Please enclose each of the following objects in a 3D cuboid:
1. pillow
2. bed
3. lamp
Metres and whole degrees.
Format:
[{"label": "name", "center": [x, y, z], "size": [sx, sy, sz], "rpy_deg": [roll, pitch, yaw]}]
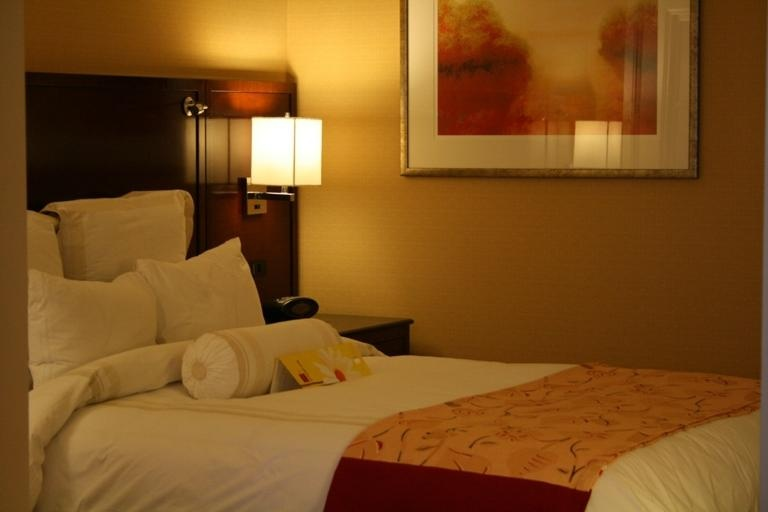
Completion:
[{"label": "pillow", "center": [-0.991, 0.190, 2.674], "size": [0.929, 0.718, 1.169], "rpy_deg": [4, 5, 30]}, {"label": "bed", "center": [-0.428, 0.553, 2.574], "size": [1.843, 0.481, 0.657], "rpy_deg": [-4, 7, -31]}, {"label": "lamp", "center": [-0.647, -0.694, 3.962], "size": [0.473, 0.461, 0.465], "rpy_deg": [1, 4, -17]}]
